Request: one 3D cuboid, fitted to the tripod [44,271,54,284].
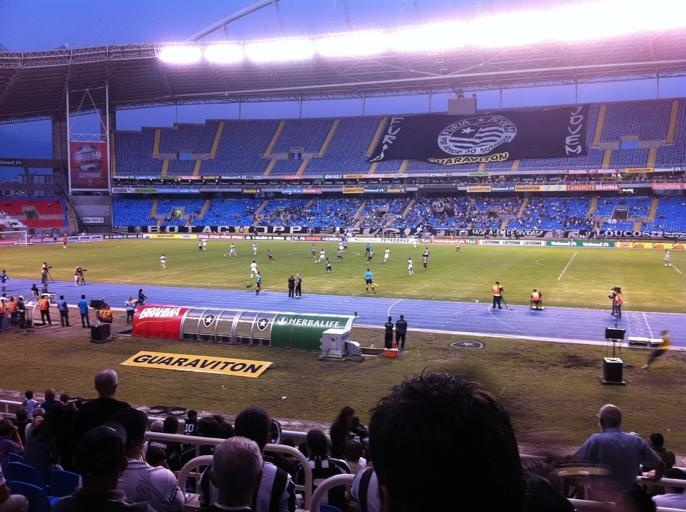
[{"bbox_3d":[-17.148,1.266,36.892,0.683,0.612,0.588,-8,-28,-3],"label":"tripod"}]

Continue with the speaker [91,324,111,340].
[{"bbox_3d":[-8.496,2.661,22.464,0.589,0.532,0.711,6,14,11],"label":"speaker"}]

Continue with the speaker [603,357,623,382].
[{"bbox_3d":[7.510,3.151,17.690,0.747,0.538,0.670,0,0,14],"label":"speaker"}]

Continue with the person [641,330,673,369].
[{"bbox_3d":[10.286,3.084,20.731,1.079,0.368,0.384,-30,27,-31],"label":"person"}]
